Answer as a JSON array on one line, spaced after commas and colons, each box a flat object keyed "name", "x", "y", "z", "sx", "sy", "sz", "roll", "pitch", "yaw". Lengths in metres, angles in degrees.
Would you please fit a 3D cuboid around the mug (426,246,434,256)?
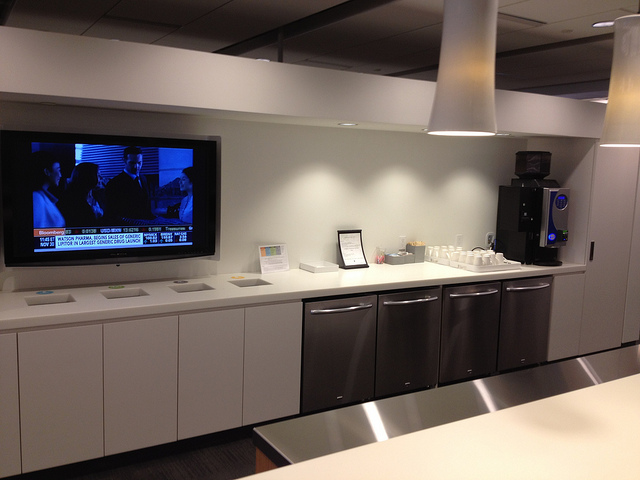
[{"name": "mug", "x": 1.133, "y": 0.116, "z": 4.881, "sx": 0.076, "sy": 0.091, "sz": 0.076, "roll": 1, "pitch": 0, "yaw": 16}]

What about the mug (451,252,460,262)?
[{"name": "mug", "x": 1.314, "y": 0.167, "z": 4.586, "sx": 0.073, "sy": 0.082, "sz": 0.089, "roll": 4, "pitch": 11, "yaw": 17}]

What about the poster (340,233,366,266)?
[{"name": "poster", "x": 0.297, "y": 0.080, "z": 4.410, "sx": 0.280, "sy": 0.331, "sz": 0.184, "roll": -3, "pitch": 12, "yaw": -28}]

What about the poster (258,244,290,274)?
[{"name": "poster", "x": -0.413, "y": 0.169, "z": 4.088, "sx": 0.240, "sy": 0.224, "sz": 0.083, "roll": -3, "pitch": -6, "yaw": -34}]

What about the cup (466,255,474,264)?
[{"name": "cup", "x": 1.414, "y": 0.187, "z": 4.432, "sx": 0.066, "sy": 0.083, "sz": 0.038, "roll": 6, "pitch": 12, "yaw": 26}]

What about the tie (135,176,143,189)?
[{"name": "tie", "x": -1.326, "y": -0.430, "z": 3.439, "sx": 0.044, "sy": 0.052, "sz": 0.019, "roll": 16, "pitch": 37, "yaw": 43}]

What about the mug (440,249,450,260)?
[{"name": "mug", "x": 1.258, "y": 0.147, "z": 4.746, "sx": 0.080, "sy": 0.116, "sz": 0.084, "roll": -4, "pitch": 10, "yaw": -16}]

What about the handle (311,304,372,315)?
[{"name": "handle", "x": 0.162, "y": 0.545, "z": 3.649, "sx": 0.373, "sy": 0.053, "sz": 0.057, "roll": -1, "pitch": 47, "yaw": -15}]

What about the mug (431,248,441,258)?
[{"name": "mug", "x": 1.181, "y": 0.127, "z": 4.813, "sx": 0.084, "sy": 0.086, "sz": 0.156, "roll": -1, "pitch": -2, "yaw": 14}]

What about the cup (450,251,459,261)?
[{"name": "cup", "x": 1.302, "y": 0.164, "z": 4.618, "sx": 0.076, "sy": 0.072, "sz": 0.077, "roll": 3, "pitch": -2, "yaw": 0}]

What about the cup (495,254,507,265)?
[{"name": "cup", "x": 1.775, "y": 0.185, "z": 4.602, "sx": 0.137, "sy": 0.085, "sz": 0.129, "roll": 1, "pitch": 11, "yaw": 0}]

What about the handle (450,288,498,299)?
[{"name": "handle", "x": 1.395, "y": 0.487, "z": 4.234, "sx": 0.563, "sy": 0.059, "sz": 0.044, "roll": -4, "pitch": 12, "yaw": -25}]

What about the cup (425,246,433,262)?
[{"name": "cup", "x": 1.120, "y": 0.145, "z": 4.862, "sx": 0.074, "sy": 0.129, "sz": 0.178, "roll": 3, "pitch": 11, "yaw": 14}]

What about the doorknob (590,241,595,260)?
[{"name": "doorknob", "x": 2.837, "y": 0.111, "z": 4.924, "sx": 0.072, "sy": 0.191, "sz": 0.019, "roll": -7, "pitch": 14, "yaw": -36}]

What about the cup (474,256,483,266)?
[{"name": "cup", "x": 1.479, "y": 0.187, "z": 4.408, "sx": 0.066, "sy": 0.083, "sz": 0.086, "roll": -2, "pitch": -8, "yaw": 35}]

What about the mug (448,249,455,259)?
[{"name": "mug", "x": 1.301, "y": 0.146, "z": 4.679, "sx": 0.081, "sy": 0.083, "sz": 0.152, "roll": 1, "pitch": -8, "yaw": 5}]

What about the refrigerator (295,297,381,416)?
[{"name": "refrigerator", "x": 0.070, "y": 0.873, "z": 4.016, "sx": 0.761, "sy": 0.887, "sz": 0.806, "roll": 1, "pitch": 6, "yaw": -2}]

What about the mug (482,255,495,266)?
[{"name": "mug", "x": 1.602, "y": 0.193, "z": 4.486, "sx": 0.110, "sy": 0.113, "sz": 0.071, "roll": 15, "pitch": 6, "yaw": 27}]

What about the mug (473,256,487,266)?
[{"name": "mug", "x": 1.503, "y": 0.196, "z": 4.430, "sx": 0.165, "sy": 0.088, "sz": 0.046, "roll": -7, "pitch": 13, "yaw": -35}]

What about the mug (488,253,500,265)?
[{"name": "mug", "x": 1.703, "y": 0.193, "z": 4.614, "sx": 0.062, "sy": 0.114, "sz": 0.114, "roll": -22, "pitch": -38, "yaw": 33}]
